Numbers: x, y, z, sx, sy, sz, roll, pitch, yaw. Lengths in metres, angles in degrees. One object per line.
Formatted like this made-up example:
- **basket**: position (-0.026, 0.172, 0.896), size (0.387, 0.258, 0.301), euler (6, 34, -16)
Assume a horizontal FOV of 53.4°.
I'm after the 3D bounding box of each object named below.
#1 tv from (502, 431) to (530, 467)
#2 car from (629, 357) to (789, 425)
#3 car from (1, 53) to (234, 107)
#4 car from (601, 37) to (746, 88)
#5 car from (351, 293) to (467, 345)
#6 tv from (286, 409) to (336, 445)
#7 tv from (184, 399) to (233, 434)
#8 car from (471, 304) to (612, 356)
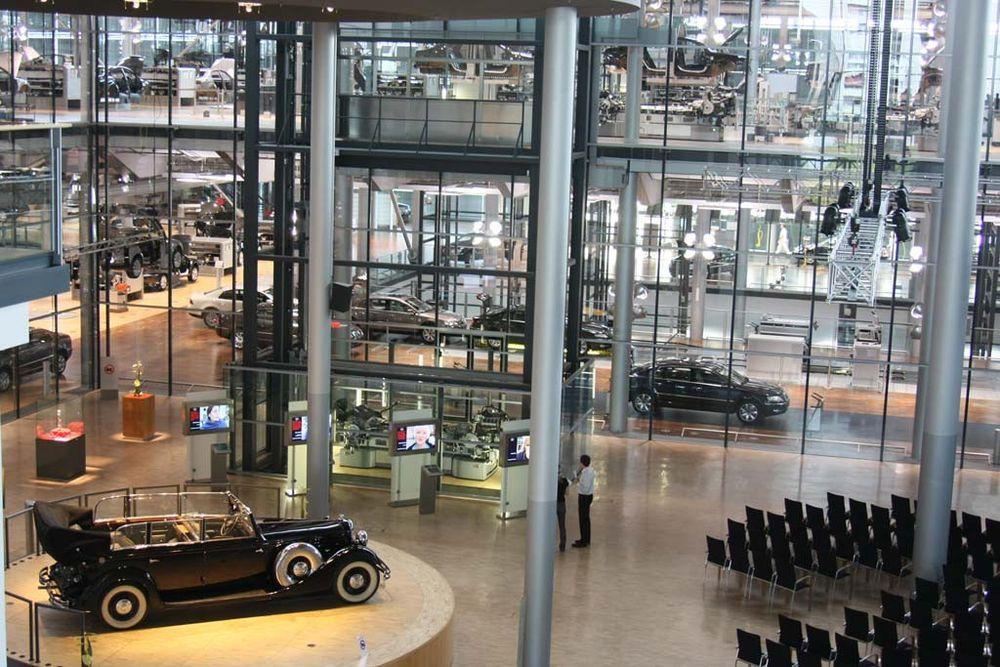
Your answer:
- **tv**: position (0.340, 2.483, 21.513), size (0.599, 0.807, 0.227), euler (-4, 12, -28)
- **car**: position (5.672, 1.482, 28.014), size (4.609, 1.316, 1.745), euler (2, 8, 11)
- **car**: position (-10.502, -7.190, 27.844), size (5.338, 1.201, 1.348), euler (0, 10, -5)
- **car**: position (4.669, -7.225, 26.447), size (3.304, 0.944, 1.273), euler (0, 23, 5)
- **car**: position (-2.214, -0.446, 25.579), size (3.063, 0.925, 1.202), euler (1, 8, 9)
- **tv**: position (-4.225, 2.072, 22.380), size (1.071, 0.792, 0.134), euler (-5, 12, -29)
- **tv**: position (-6.704, 1.860, 22.820), size (0.929, 0.574, 0.122), euler (-1, 3, -28)
- **car**: position (1.072, 0.062, 25.086), size (3.452, 0.935, 1.497), euler (0, 12, 3)
